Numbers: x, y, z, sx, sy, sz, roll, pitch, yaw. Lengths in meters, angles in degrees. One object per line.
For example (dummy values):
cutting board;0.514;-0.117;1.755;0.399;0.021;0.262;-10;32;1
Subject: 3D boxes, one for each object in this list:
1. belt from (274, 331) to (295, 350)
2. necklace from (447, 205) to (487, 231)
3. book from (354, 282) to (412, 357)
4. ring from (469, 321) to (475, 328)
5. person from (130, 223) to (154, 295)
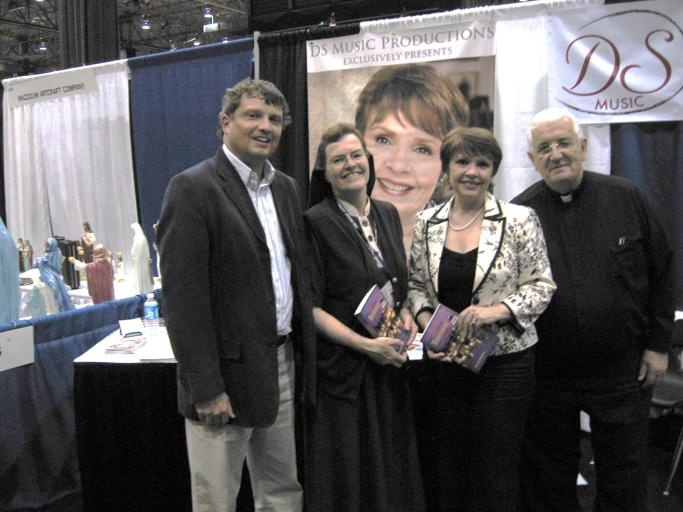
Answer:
belt;-0.295;0.423;3.208;0.074;0.030;0.054;-28;4;33
necklace;0.663;-0.200;3.313;0.110;0.153;0.047;46;25;18
book;0.211;0.318;3.160;0.082;0.357;0.257;-8;34;45
ring;0.645;0.334;3.098;0.022;0.010;0.031;1;26;9
person;-1.776;0.011;5.510;0.184;0.611;0.793;-5;5;-18
